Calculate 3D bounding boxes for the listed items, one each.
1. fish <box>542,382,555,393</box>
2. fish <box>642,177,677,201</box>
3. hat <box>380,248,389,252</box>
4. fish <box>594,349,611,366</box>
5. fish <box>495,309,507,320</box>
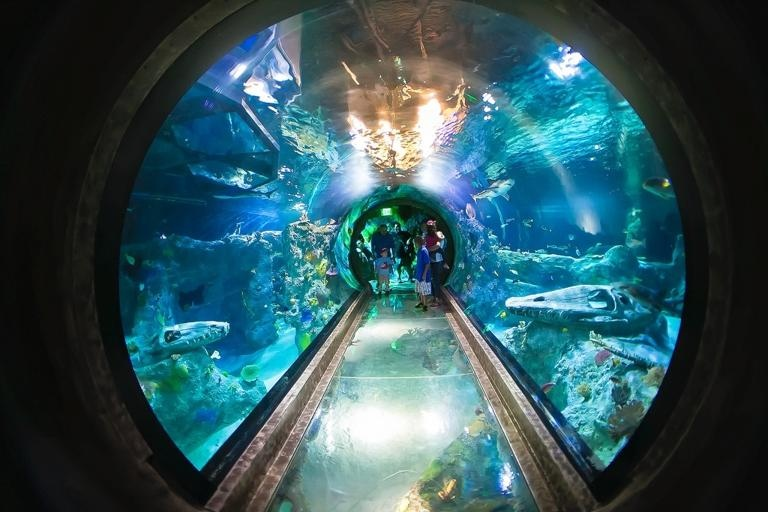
[{"bbox_3d":[1.703,1.358,4.286,0.115,0.042,0.161,5,15,21],"label":"fish"},{"bbox_3d":[2.302,-0.572,3.440,0.103,0.178,0.300,-4,14,-12],"label":"fish"},{"bbox_3d":[0.020,-0.170,10.461,0.111,0.063,0.110,2,-6,-35],"label":"hat"},{"bbox_3d":[2.114,0.980,4.007,0.069,0.169,0.173,-2,14,-3],"label":"fish"},{"bbox_3d":[1.733,0.863,6.063,0.050,0.090,0.125,24,-39,-38],"label":"fish"}]
